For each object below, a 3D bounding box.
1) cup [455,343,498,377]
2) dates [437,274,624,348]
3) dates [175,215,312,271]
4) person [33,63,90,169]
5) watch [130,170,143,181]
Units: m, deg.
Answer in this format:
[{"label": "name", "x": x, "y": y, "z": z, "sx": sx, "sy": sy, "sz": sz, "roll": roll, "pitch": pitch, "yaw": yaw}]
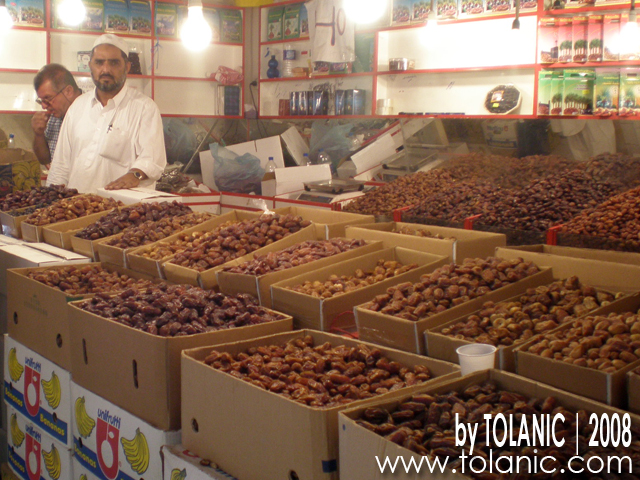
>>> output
[{"label": "cup", "x": 0.406, "y": 0.303, "z": 1.275, "sx": 0.082, "sy": 0.059, "sz": 0.083, "roll": -2, "pitch": -2, "yaw": 0}, {"label": "dates", "x": 0.686, "y": 0.220, "z": 1.581, "sx": 0.537, "sy": 0.085, "sz": 0.225, "roll": -16, "pitch": 13, "yaw": -34}, {"label": "dates", "x": -0.408, "y": 0.007, "z": 2.349, "sx": 0.305, "sy": 0.110, "sz": 0.438, "roll": 10, "pitch": 27, "yaw": 43}, {"label": "person", "x": -3.055, "y": -1.495, "z": 5.920, "sx": 0.291, "sy": 1.304, "sz": 0.592, "roll": -11, "pitch": 18, "yaw": -43}, {"label": "watch", "x": -1.574, "y": -0.567, "z": 4.275, "sx": 0.088, "sy": 0.047, "sz": 0.068, "roll": 36, "pitch": 6, "yaw": 26}]
